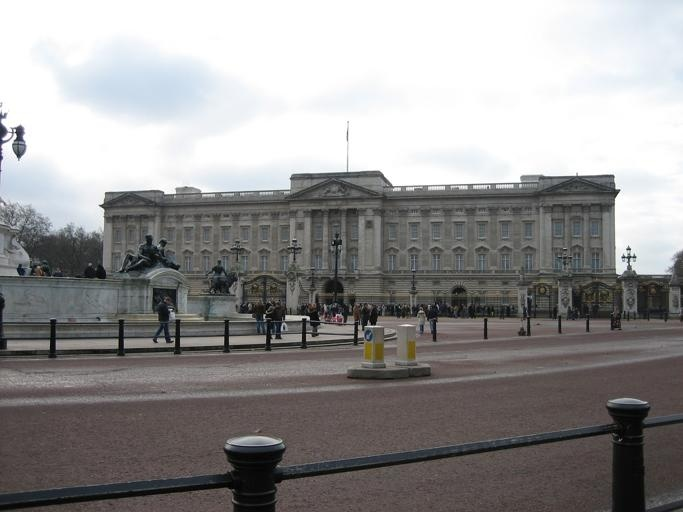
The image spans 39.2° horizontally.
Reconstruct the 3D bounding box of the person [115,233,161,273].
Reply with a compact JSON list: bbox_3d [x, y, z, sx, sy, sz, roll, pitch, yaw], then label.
[{"bbox_3d":[-8.372,-0.057,39.964,1.178,1.335,1.687,0,0,19],"label":"person"}]
